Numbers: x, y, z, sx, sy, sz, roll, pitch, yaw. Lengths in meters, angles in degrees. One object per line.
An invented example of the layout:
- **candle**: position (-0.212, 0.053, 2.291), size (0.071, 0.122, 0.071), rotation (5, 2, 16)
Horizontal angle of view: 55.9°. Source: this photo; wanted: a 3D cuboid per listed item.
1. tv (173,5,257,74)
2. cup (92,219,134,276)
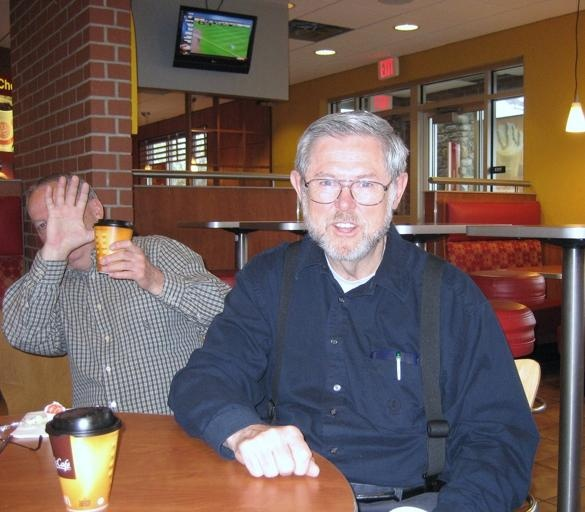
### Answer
- **tv**: position (-0.865, -2.392, 6.052), size (0.846, 0.598, 0.086), rotation (3, 23, -20)
- **cup**: position (-0.474, -0.026, 1.594), size (0.135, 0.141, 0.133), rotation (1, -1, 0)
